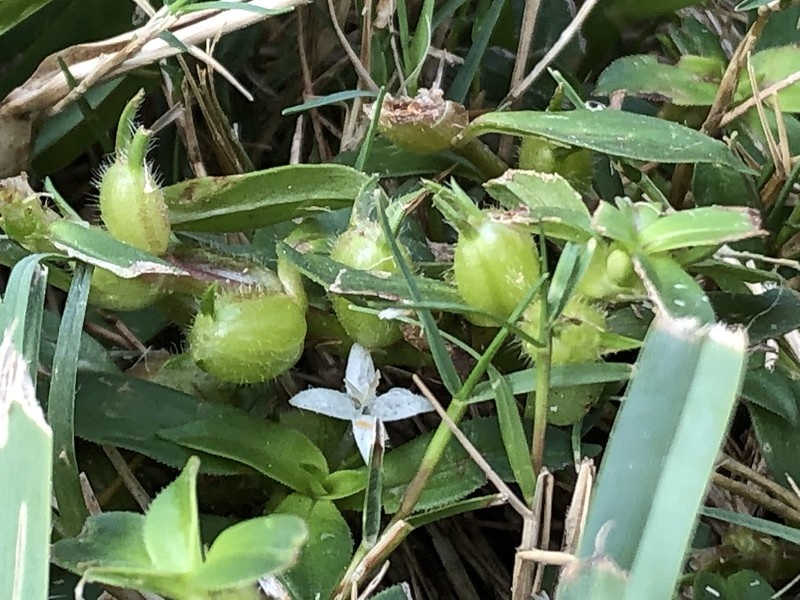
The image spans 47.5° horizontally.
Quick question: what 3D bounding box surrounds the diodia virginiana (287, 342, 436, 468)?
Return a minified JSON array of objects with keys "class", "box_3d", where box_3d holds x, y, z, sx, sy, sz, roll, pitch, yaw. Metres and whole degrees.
[{"class":"diodia virginiana","box_3d":[-0.030,0.091,0.743,0.082,0.061,0.098,17,28,21]}]
